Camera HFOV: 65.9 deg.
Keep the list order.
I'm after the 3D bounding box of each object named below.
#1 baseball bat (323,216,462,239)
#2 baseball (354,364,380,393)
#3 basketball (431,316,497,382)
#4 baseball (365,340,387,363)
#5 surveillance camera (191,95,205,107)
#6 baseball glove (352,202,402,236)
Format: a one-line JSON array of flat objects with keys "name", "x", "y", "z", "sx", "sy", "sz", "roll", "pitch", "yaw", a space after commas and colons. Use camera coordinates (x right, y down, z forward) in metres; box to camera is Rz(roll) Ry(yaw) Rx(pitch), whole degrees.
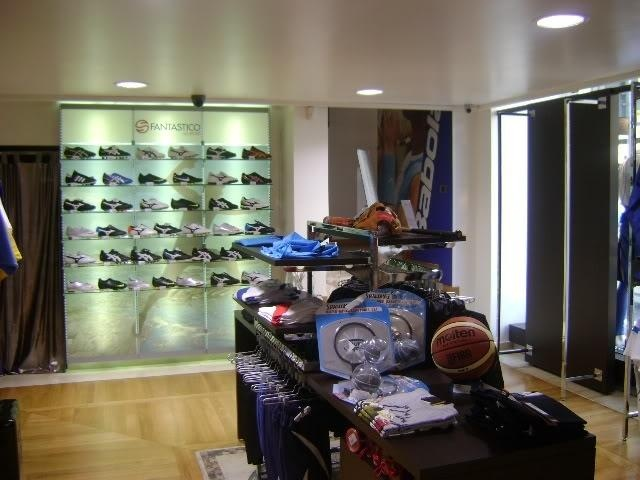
[{"name": "baseball bat", "x": 0.537, "y": -0.087, "z": 3.482, "sx": 0.957, "sy": 0.119, "sz": 0.135, "roll": 7, "pitch": -16, "yaw": 27}, {"name": "baseball", "x": 0.208, "y": 0.630, "z": 2.259, "sx": 0.100, "sy": 0.090, "sz": 0.115, "roll": 5, "pitch": 17, "yaw": -21}, {"name": "basketball", "x": 0.659, "y": 0.498, "z": 2.337, "sx": 0.325, "sy": 0.277, "sz": 0.297, "roll": -15, "pitch": -12, "yaw": 18}, {"name": "baseball", "x": 0.262, "y": 0.533, "z": 2.374, "sx": 0.098, "sy": 0.087, "sz": 0.115, "roll": 3, "pitch": -17, "yaw": -16}, {"name": "surveillance camera", "x": -1.041, "y": -1.193, "z": 4.240, "sx": 0.106, "sy": 0.071, "sz": 0.092, "roll": -1, "pitch": 2, "yaw": -11}, {"name": "baseball glove", "x": 0.350, "y": -0.166, "z": 3.027, "sx": 0.186, "sy": 0.100, "sz": 0.252, "roll": 6, "pitch": -5, "yaw": -36}]
